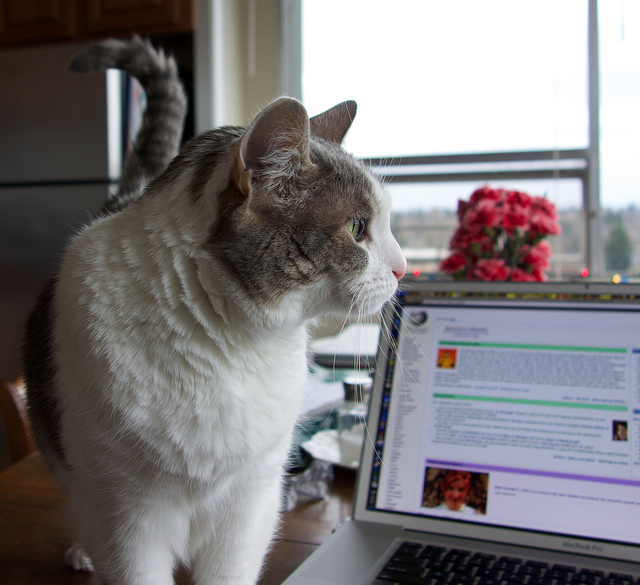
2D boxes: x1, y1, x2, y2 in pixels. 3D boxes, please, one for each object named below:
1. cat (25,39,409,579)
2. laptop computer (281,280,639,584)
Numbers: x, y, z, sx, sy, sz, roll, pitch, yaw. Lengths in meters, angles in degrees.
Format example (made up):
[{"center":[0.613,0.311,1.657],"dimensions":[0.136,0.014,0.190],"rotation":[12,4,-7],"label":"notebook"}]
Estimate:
[{"center":[-0.170,0.088,1.153],"dimensions":[0.628,0.771,0.266],"rotation":[-7,12,-15],"label":"cat"},{"center":[0.237,0.209,1.068],"dimensions":[0.501,0.386,0.344],"rotation":[0,13,17],"label":"laptop computer"}]
